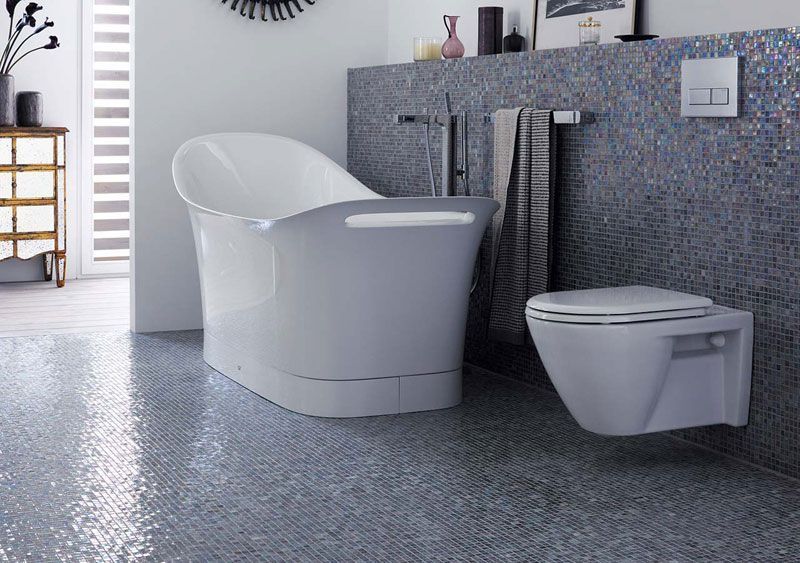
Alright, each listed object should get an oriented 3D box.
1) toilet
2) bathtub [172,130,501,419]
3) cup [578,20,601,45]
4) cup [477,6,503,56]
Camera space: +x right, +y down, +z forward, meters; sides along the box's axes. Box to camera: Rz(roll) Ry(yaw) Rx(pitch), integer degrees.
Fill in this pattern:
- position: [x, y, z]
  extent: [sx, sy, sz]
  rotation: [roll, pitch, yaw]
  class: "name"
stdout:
- position: [0.826, 0.251, 2.273]
  extent: [0.666, 0.418, 0.513]
  rotation: [-1, 4, -16]
  class: "toilet"
- position: [-0.501, -0.075, 3.284]
  extent: [1.042, 0.958, 2.005]
  rotation: [-3, 8, -28]
  class: "bathtub"
- position: [0.827, -1.092, 2.752]
  extent: [0.087, 0.137, 0.170]
  rotation: [3, 10, 15]
  class: "cup"
- position: [0.498, -1.328, 3.334]
  extent: [0.165, 0.253, 0.143]
  rotation: [-2, 10, -15]
  class: "cup"
